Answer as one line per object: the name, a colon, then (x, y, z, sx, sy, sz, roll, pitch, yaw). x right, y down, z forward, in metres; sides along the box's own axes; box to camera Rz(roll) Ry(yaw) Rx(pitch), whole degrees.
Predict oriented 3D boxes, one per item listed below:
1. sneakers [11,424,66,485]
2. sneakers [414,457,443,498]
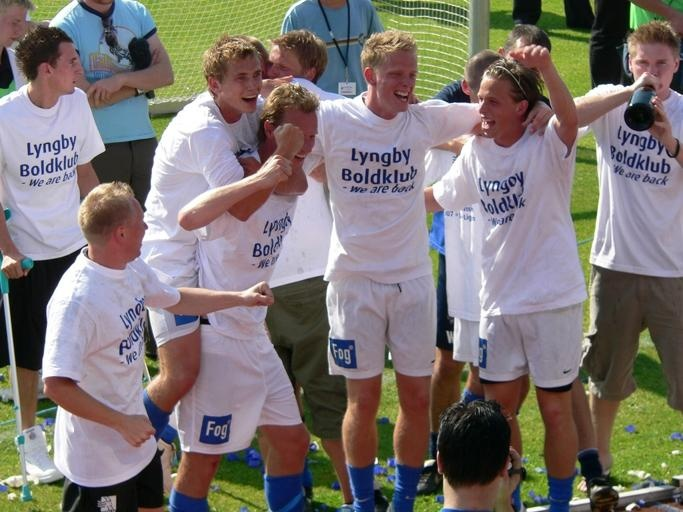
sneakers: (-2.111, 1.382, 6.077, 0.298, 0.272, 0.392, -13, 24, -26)
sneakers: (0.614, 1.523, 6.140, 0.133, 0.154, 0.398, -3, 2, 24)
